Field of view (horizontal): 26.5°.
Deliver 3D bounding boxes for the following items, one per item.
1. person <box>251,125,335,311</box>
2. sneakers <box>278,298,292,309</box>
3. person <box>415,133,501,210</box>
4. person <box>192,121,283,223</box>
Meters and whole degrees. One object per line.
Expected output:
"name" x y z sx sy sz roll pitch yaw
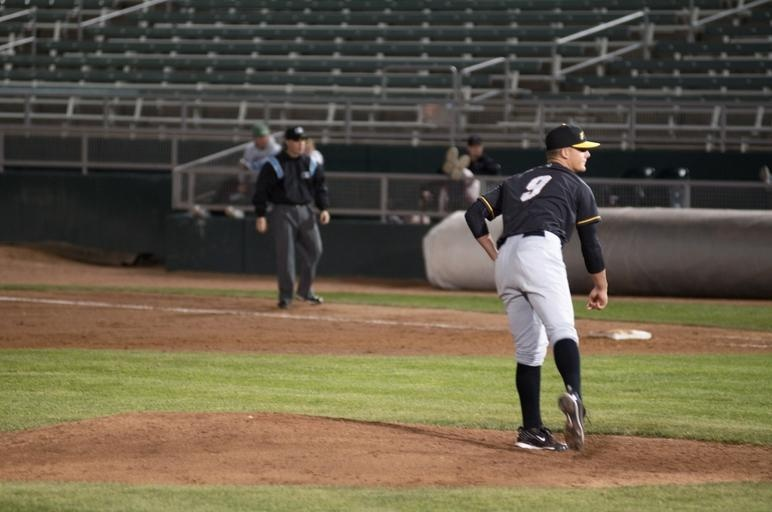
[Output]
"person" -1.586 -0.627 27.836 1.205 3.016 0.691 3 0 -37
"sneakers" -1.725 0.810 27.876 0.241 0.199 0.135 2 -5 1
"person" 1.496 -1.481 31.714 1.079 1.732 0.608 3 -26 20
"person" -2.489 -1.777 30.063 1.274 0.930 2.004 2 17 14
